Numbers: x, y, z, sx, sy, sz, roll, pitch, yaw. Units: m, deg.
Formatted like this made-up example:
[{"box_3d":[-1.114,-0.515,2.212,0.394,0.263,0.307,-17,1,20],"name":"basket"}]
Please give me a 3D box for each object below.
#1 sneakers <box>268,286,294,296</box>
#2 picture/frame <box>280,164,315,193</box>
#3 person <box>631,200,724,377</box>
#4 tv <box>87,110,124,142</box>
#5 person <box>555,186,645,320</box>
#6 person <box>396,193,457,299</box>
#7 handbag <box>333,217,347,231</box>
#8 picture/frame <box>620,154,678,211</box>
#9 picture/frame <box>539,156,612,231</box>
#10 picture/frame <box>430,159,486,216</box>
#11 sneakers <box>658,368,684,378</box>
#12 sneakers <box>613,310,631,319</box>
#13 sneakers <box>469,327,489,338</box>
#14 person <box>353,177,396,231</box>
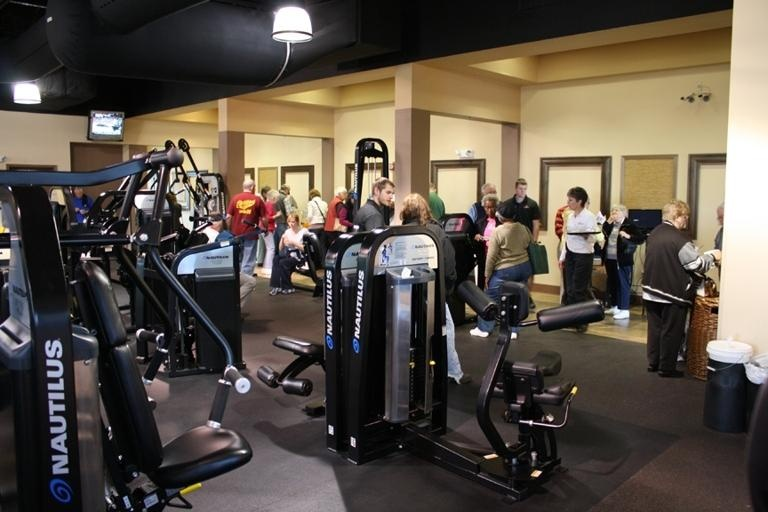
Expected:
[{"box_3d":[-1.723,0.616,9.768,0.135,0.161,0.406,-2,-7,31],"name":"sneakers"},{"box_3d":[-2.009,-1.805,13.579,0.931,0.911,0.079,4,4,35],"name":"picture/frame"},{"box_3d":[2.948,0.349,5.830,0.566,1.719,0.473,9,15,41],"name":"person"},{"box_3d":[-6.529,-3.029,13.429,0.740,0.682,0.371,-2,8,-30],"name":"tv"},{"box_3d":[2.879,0.014,7.637,0.711,1.832,1.482,10,15,42],"name":"person"},{"box_3d":[0.404,-0.038,5.326,0.526,1.017,1.138,0,11,5],"name":"person"},{"box_3d":[-0.763,-0.553,9.902,0.226,0.211,0.085,13,39,9],"name":"handbag"},{"box_3d":[3.954,-1.085,8.474,0.099,1.202,1.015,1,2,-42],"name":"picture/frame"},{"box_3d":[2.988,-0.986,8.803,0.114,1.508,1.271,0,2,-42],"name":"picture/frame"},{"box_3d":[1.410,-1.244,10.547,1.315,1.465,0.108,8,13,41],"name":"picture/frame"},{"box_3d":[2.919,1.202,5.872,0.288,0.122,0.095,-1,3,-10],"name":"sneakers"},{"box_3d":[3.335,0.828,7.967,0.246,0.172,0.097,3,2,42],"name":"sneakers"},{"box_3d":[1.181,0.970,7.207,0.102,0.090,0.215,-3,7,-38],"name":"sneakers"},{"box_3d":[-0.120,-0.587,7.310,0.478,0.765,0.969,3,14,3],"name":"person"}]
